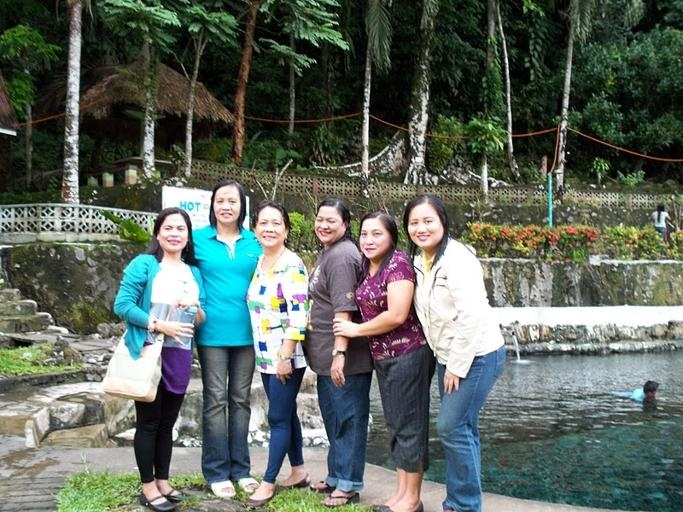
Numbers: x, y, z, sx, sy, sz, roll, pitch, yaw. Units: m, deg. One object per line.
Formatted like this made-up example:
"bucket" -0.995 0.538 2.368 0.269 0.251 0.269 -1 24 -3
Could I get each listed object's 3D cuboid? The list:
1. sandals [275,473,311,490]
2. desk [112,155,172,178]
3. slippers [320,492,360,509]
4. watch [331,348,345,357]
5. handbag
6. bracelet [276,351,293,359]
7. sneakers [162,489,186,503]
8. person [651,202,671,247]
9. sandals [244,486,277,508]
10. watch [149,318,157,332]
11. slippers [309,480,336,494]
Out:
"sandals" -0.429 1.989 5.676 0.240 0.106 0.117 3 -6 -11
"desk" -5.163 -2.355 16.894 0.977 0.455 1.997 0 5 -42
"slippers" -0.003 2.033 5.348 0.244 0.068 0.126 4 1 -16
"watch" -0.037 0.823 5.370 0.087 0.056 0.084 15 -29 -35
"handbag" -1.708 0.902 5.225 0.451 0.536 0.223 3 3 10
"bracelet" -0.487 0.822 5.413 0.083 0.048 0.064 0 3 -34
"sneakers" -1.395 1.980 5.317 0.202 0.068 0.084 6 7 32
"person" 10.297 -1.101 20.628 0.514 1.208 2.895 4 4 27
"sandals" -0.687 1.984 5.372 0.106 0.096 0.231 -12 7 38
"watch" -1.539 0.566 5.221 0.026 0.085 0.058 2 8 -33
"slippers" -0.176 2.010 5.572 0.214 0.094 0.092 5 -34 -7
